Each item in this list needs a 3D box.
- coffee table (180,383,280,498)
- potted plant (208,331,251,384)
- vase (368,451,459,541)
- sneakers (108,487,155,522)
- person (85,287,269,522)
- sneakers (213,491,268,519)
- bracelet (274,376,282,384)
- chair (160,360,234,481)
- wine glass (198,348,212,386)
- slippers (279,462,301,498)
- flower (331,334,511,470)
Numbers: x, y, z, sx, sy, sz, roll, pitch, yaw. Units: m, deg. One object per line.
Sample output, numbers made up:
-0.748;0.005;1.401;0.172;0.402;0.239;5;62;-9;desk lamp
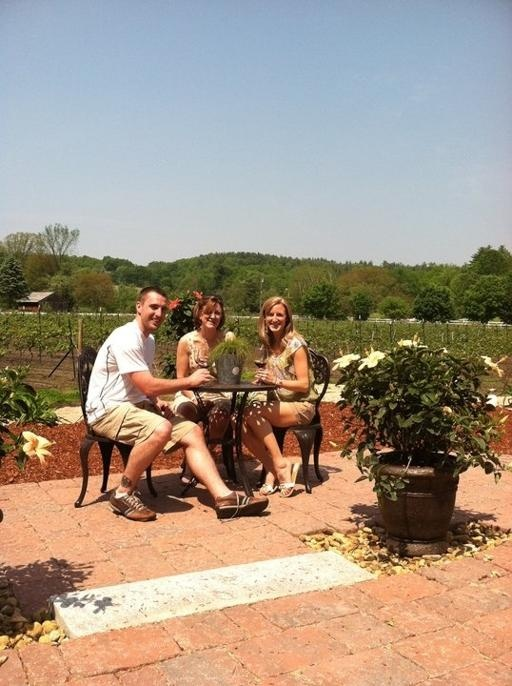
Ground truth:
-0.309;0.723;3.807;0.738;0.730;0.681;0;-7;-8;coffee table
-0.201;0.123;3.492;0.312;0.317;0.310;-4;-7;8;potted plant
0.884;0.891;2.852;0.552;0.390;0.541;3;-8;-22;vase
-0.784;1.045;3.268;0.362;0.146;0.133;11;10;32;sneakers
-0.618;0.384;3.340;1.146;1.511;0.447;-1;-4;22;person
-0.106;1.048;3.196;0.389;0.156;0.147;-7;-2;-14;sneakers
0.171;0.278;3.689;0.042;0.023;0.056;10;18;-5;bracelet
-0.301;0.762;4.059;0.550;0.669;0.463;7;-13;14;chair
-0.369;0.172;3.570;0.086;0.225;0.172;-12;-27;10;wine glass
0.272;1.050;3.807;0.122;0.282;0.069;7;-7;37;slippers
0.835;0.309;2.775;0.681;0.601;0.552;-1;-18;25;flower
